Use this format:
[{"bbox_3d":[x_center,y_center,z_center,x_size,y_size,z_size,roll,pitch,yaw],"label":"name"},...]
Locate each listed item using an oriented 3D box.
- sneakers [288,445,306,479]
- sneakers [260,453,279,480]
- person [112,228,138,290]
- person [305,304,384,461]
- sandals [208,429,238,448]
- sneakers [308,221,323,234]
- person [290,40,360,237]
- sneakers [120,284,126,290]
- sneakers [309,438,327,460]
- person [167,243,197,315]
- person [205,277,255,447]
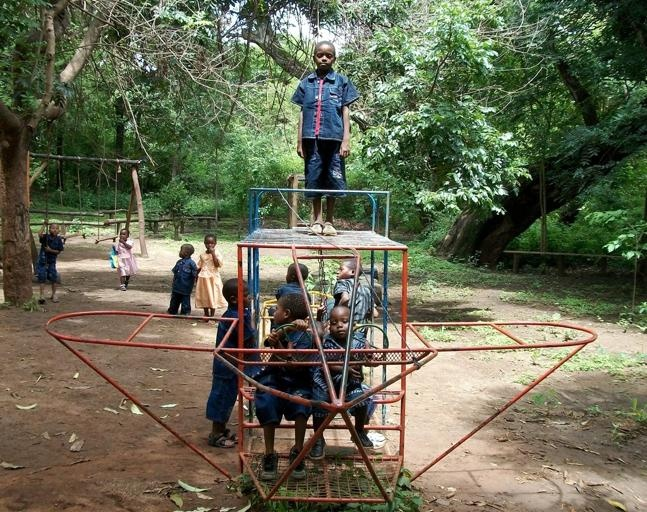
[{"bbox_3d":[-0.177,1.539,4.414,0.139,0.124,0.348,-1,1,-6],"label":"sneakers"},{"bbox_3d":[-0.377,1.523,4.307,0.111,0.191,0.154,6,10,-2],"label":"sneakers"},{"bbox_3d":[-3.834,0.047,11.496,0.449,1.192,1.032,3,10,-17],"label":"person"},{"bbox_3d":[0.183,0.953,4.381,0.513,1.212,1.197,8,10,7],"label":"person"},{"bbox_3d":[-0.869,1.611,5.194,0.230,0.063,0.134,-2,-1,23],"label":"sandals"},{"bbox_3d":[-0.061,-0.265,5.599,0.206,0.110,0.338,-1,-4,-2],"label":"sneakers"},{"bbox_3d":[-0.007,-1.261,6.043,0.666,1.940,1.229,6,10,-4],"label":"person"},{"bbox_3d":[-3.776,0.589,11.256,0.093,0.099,0.188,2,9,-20],"label":"sneakers"},{"bbox_3d":[-0.034,1.447,4.420,0.158,0.121,0.360,-1,-11,5],"label":"sneakers"},{"bbox_3d":[-2.096,0.390,8.956,0.394,1.143,0.853,4,10,-14],"label":"person"},{"bbox_3d":[-0.759,0.916,5.177,0.419,1.566,1.071,6,10,-6],"label":"person"}]
